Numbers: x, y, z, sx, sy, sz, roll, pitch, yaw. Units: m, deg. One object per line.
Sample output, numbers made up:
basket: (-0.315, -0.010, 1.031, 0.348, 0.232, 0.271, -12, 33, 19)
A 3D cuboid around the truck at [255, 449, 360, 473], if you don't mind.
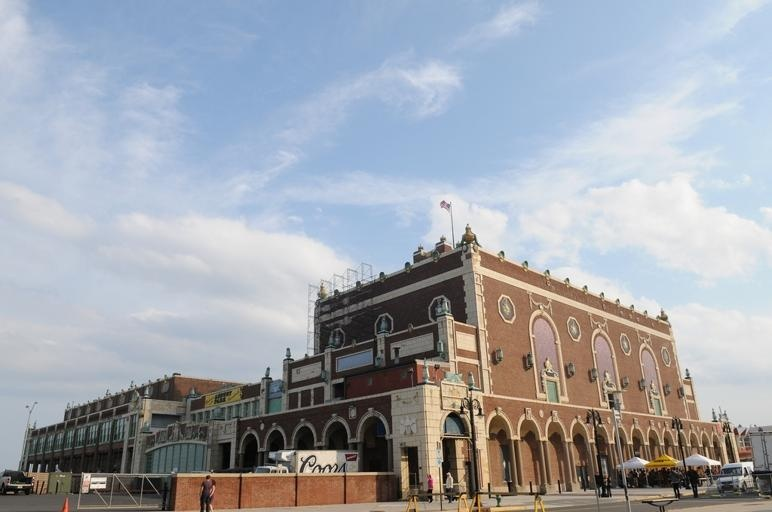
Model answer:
truck: (-6.683, 18.735, 50.872, 8.819, 2.591, 5.675, 14, -30, -29)
